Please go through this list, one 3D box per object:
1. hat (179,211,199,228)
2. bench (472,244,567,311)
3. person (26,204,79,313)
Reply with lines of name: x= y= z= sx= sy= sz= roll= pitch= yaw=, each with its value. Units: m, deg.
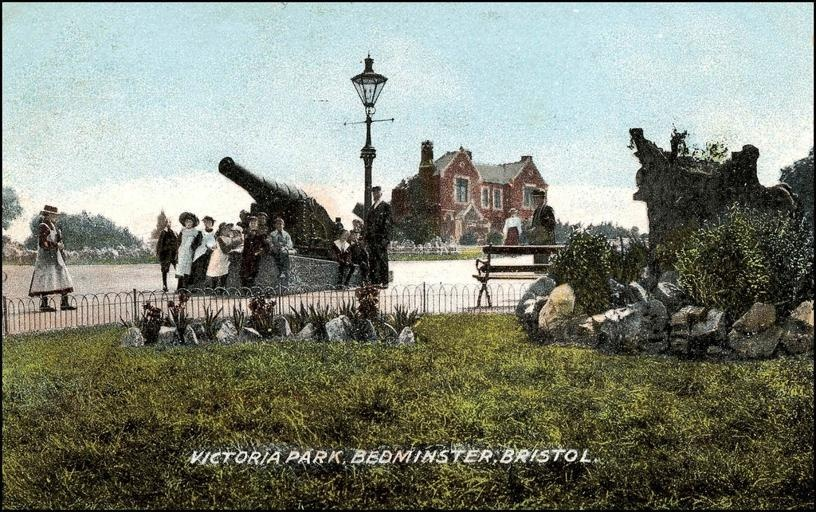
hat: x=-4.405 y=-0.728 z=16.474 sx=0.313 sy=0.396 sz=1.176 roll=-2 pitch=9 yaw=-14
bench: x=2.320 y=0.353 z=16.421 sx=1.713 sy=0.984 sz=0.663 roll=-1 pitch=6 yaw=24
person: x=-6.493 y=0.113 z=14.925 sx=0.758 sy=1.926 sz=1.522 roll=-3 pitch=9 yaw=-24
